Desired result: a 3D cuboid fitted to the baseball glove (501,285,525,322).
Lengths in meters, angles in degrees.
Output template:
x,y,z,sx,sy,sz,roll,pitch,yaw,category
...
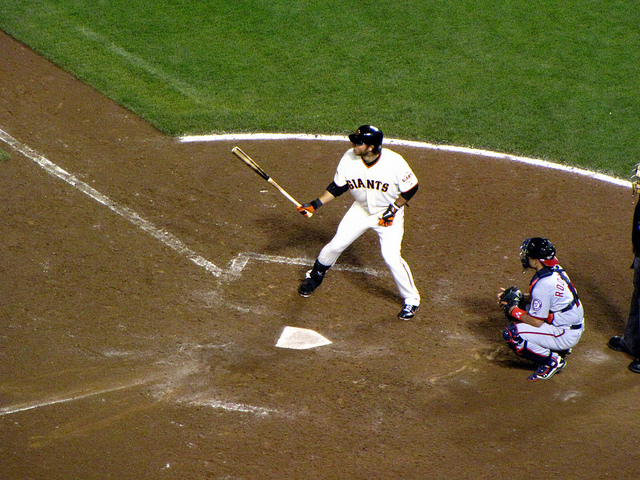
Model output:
x,y,z,sx,sy,sz,roll,pitch,yaw,category
2.487,0.816,12.166,0.223,0.351,0.376,1,91,13,baseball glove
